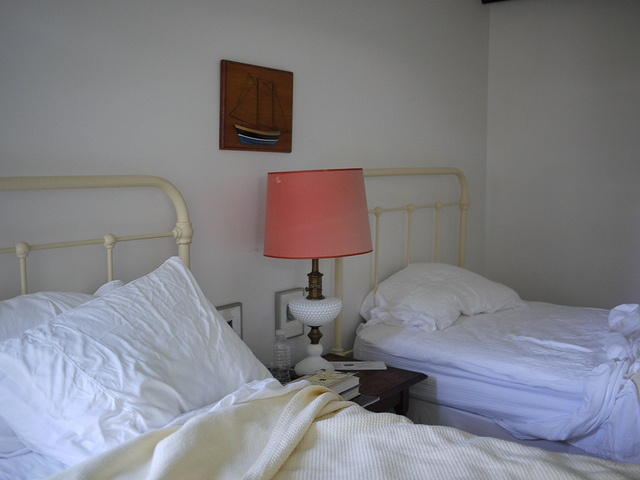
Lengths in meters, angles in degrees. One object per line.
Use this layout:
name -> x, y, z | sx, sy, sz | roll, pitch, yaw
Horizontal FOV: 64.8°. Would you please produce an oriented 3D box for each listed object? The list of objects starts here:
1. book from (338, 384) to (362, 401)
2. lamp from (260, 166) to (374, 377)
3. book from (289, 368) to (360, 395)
book -> 0.110, 0.584, 1.920 | 0.070, 0.017, 0.070 | -15, 12, -34
lamp -> -0.024, 0.141, 2.221 | 0.476, 0.852, 0.492 | 2, 4, 25
book -> 0.036, 0.530, 1.913 | 0.168, 0.047, 0.173 | -3, 3, -44
